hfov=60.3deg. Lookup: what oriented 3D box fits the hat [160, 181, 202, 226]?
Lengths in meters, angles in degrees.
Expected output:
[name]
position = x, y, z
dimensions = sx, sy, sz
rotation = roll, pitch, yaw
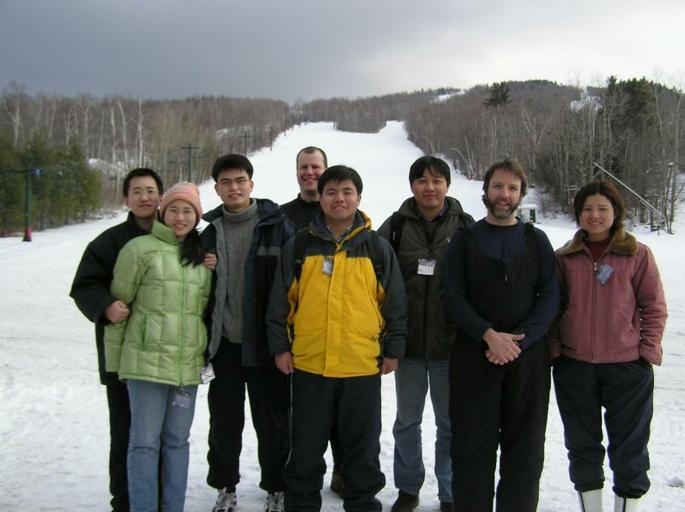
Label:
[hat]
position = -1.438, -0.451, 5.303
dimensions = 0.342, 0.382, 0.376
rotation = 5, -5, -15
